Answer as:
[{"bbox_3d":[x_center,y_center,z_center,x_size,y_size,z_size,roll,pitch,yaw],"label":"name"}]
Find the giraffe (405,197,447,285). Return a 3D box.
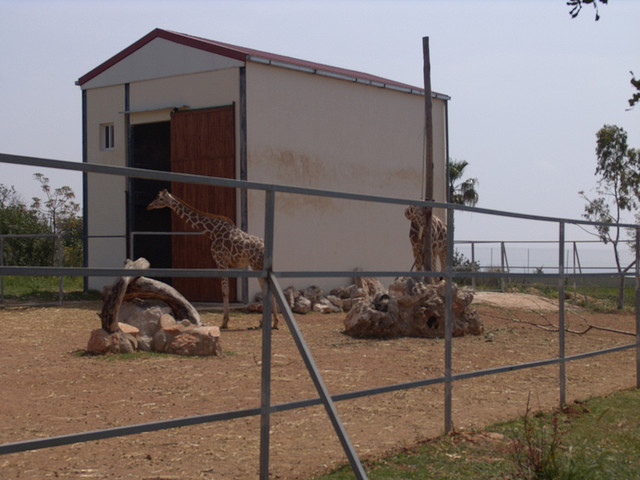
[{"bbox_3d":[2.448,0.125,17.093,0.536,1.818,2.177,5,-9,32],"label":"giraffe"}]
